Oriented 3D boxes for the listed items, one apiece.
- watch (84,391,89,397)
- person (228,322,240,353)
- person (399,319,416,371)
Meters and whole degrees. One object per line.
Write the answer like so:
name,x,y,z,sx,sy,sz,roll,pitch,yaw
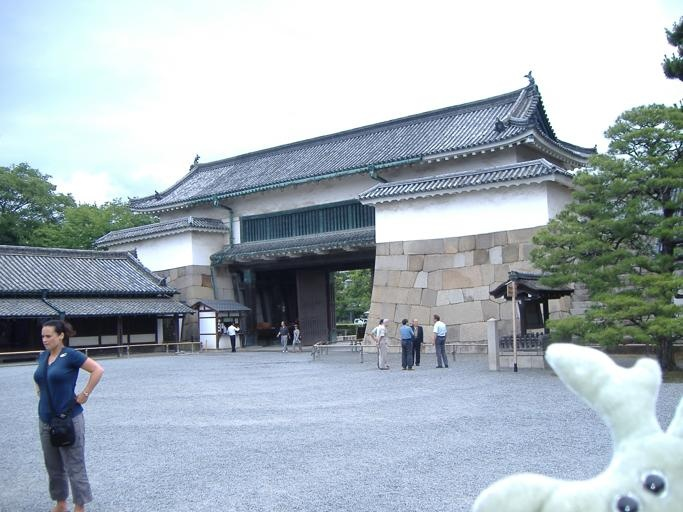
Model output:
watch,-2.766,1.494,6.555,0.050,0.023,0.065,0,31,-2
person,-5.231,3.873,29.140,0.550,1.396,2.107,0,-7,-11
person,2.007,2.693,18.453,0.383,1.461,0.935,-2,-7,6
